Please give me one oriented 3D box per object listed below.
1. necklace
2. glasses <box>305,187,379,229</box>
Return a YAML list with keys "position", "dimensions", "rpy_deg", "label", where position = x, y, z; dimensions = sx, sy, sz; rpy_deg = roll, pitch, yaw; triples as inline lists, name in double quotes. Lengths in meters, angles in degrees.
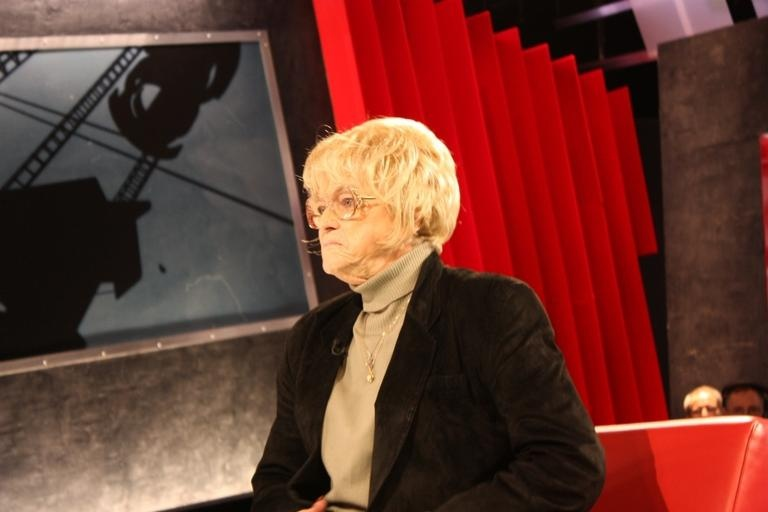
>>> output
- position: [0.014, 0.223, 1.878]
  dimensions: [0.126, 0.231, 0.054]
  rpy_deg: [6, -13, 43]
  label: "necklace"
- position: [-0.104, -0.109, 1.914]
  dimensions: [0.181, 0.067, 0.186]
  rpy_deg: [-8, -14, 25]
  label: "glasses"
